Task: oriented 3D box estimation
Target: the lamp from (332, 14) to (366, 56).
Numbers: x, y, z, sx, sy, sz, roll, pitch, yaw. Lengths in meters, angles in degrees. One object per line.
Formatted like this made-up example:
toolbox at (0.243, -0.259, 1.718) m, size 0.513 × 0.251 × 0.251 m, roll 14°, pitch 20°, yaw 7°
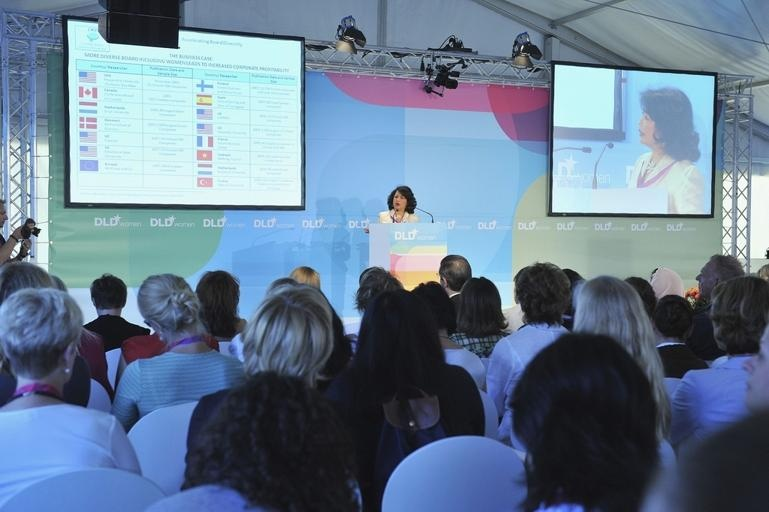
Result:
lamp at (-0.424, -2.666, 8.891) m, size 0.353 × 0.442 × 0.459 m, roll 0°, pitch 2°, yaw -3°

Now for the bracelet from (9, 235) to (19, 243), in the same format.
bracelet at (-3.591, -0.169, 7.077) m, size 0.033 × 0.075 × 0.085 m, roll 4°, pitch -11°, yaw -18°

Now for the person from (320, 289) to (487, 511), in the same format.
person at (0.103, 0.861, 4.244) m, size 1.080 × 1.449 × 0.744 m, roll -3°, pitch 8°, yaw 0°

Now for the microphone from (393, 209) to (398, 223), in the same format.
microphone at (0.131, -0.468, 8.591) m, size 0.034 × 0.150 × 0.105 m, roll -6°, pitch 0°, yaw 9°

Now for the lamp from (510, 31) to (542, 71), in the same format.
lamp at (1.866, -2.699, 9.713) m, size 0.441 × 0.455 × 0.376 m, roll 5°, pitch 3°, yaw 3°

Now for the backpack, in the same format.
backpack at (0.185, 0.947, 4.320) m, size 0.474 × 0.535 × 0.319 m, roll 2°, pitch 44°, yaw 8°

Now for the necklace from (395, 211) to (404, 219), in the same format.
necklace at (0.169, -0.484, 8.576) m, size 0.086 × 0.063 × 0.122 m, roll 1°, pitch -4°, yaw -4°

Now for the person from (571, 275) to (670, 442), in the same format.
person at (1.387, 0.663, 4.549) m, size 0.610 × 1.084 × 0.750 m, roll -1°, pitch -30°, yaw 21°
